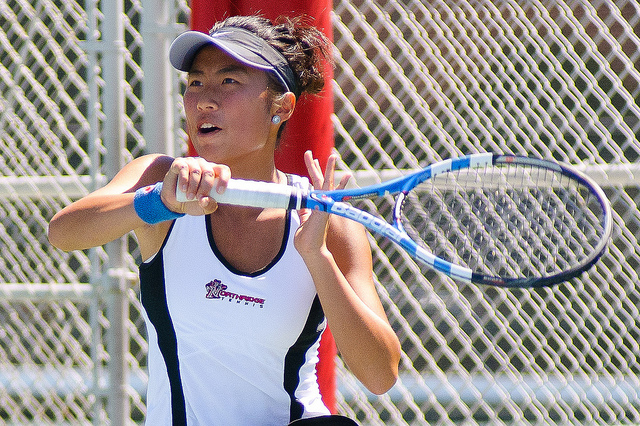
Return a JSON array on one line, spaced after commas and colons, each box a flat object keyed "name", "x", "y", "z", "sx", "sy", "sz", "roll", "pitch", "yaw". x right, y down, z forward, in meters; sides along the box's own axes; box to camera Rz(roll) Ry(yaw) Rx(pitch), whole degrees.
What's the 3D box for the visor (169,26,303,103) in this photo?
[{"name": "visor", "x": -0.488, "y": -0.890, "z": 7.140, "sx": 0.769, "sy": 0.305, "sz": 0.248, "roll": 5, "pitch": 2, "yaw": -3}]
